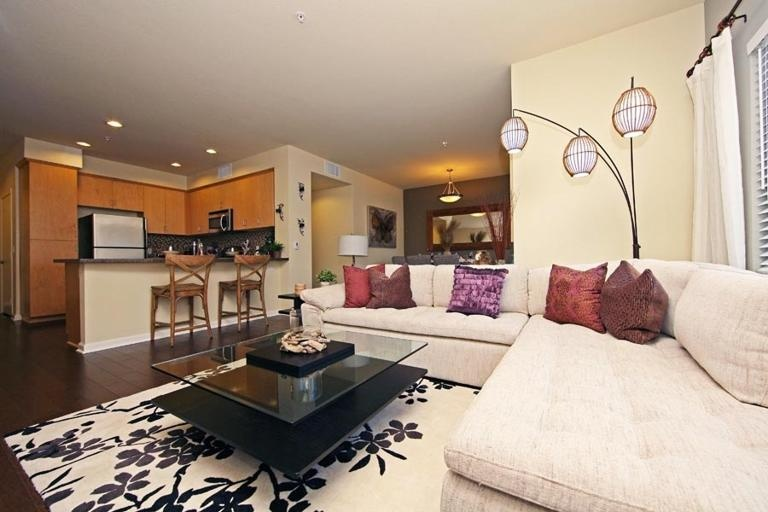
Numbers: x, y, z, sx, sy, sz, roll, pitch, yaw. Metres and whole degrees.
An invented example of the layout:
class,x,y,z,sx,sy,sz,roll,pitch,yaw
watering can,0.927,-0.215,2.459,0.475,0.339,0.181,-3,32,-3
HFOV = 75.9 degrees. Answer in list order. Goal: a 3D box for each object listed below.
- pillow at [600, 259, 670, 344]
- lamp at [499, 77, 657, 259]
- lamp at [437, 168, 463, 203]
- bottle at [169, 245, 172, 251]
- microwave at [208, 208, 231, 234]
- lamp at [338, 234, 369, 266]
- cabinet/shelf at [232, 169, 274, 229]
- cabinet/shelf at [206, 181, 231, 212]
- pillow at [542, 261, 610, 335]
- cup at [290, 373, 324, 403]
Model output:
class,x,y,z,sx,sy,sz,roll,pitch,yaw
pillow,2.140,0.454,4.476,0.491,0.765,0.926,2,-8,5
lamp,2.165,-0.925,5.327,1.363,1.893,0.620,-2,0,31
lamp,1.322,-1.320,9.784,0.556,0.813,0.567,9,16,39
bottle,-4.058,-0.174,9.424,0.061,0.091,0.087,-2,-1,-31
microwave,-2.884,-0.620,8.683,0.646,0.425,0.354,-4,-6,41
lamp,-0.394,-0.082,6.835,0.414,0.673,0.408,0,2,1
cabinet/shelf,-2.148,-0.959,8.211,1.020,0.918,0.363,-1,0,37
cabinet/shelf,-2.942,-1.066,8.819,0.582,0.553,0.222,-2,-3,37
pillow,1.778,0.410,4.544,0.214,0.578,0.579,28,-18,-38
cup,-0.630,1.084,4.038,0.209,0.245,0.225,0,6,0
